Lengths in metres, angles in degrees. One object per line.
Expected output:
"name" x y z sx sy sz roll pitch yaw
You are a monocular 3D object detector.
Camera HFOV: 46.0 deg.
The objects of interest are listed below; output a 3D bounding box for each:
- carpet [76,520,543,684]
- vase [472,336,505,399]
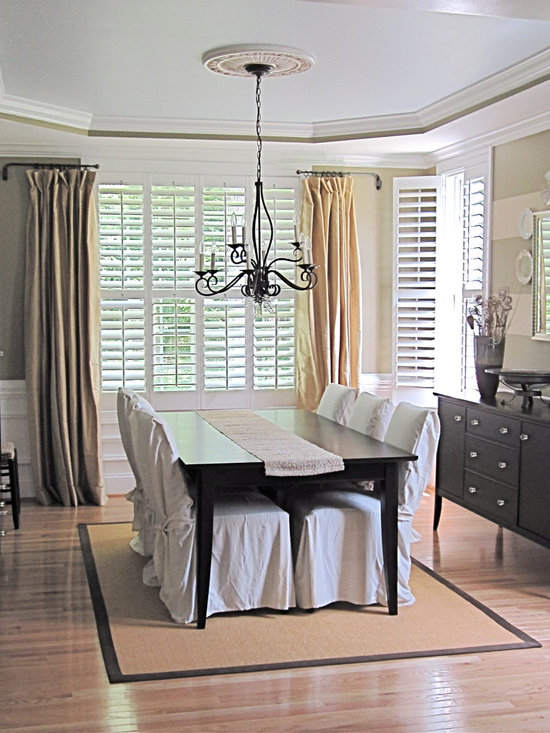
"carpet" 0.053 0.963 2.716 1.595 0.155 1.522 -2 6 -20
"vase" 1.162 -0.002 3.551 0.153 0.336 0.181 2 6 20
